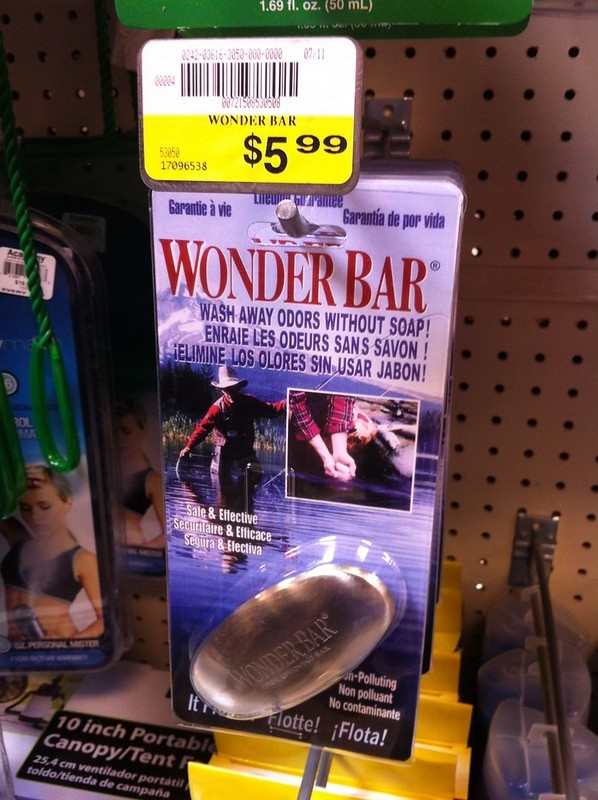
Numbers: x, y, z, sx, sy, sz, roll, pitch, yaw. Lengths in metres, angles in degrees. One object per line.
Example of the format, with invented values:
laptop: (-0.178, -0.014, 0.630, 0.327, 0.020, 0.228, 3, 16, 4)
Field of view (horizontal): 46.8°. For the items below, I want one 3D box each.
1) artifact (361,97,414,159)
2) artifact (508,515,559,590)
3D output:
artifact: (0.075, -0.232, 0.590, 0.041, 0.047, 0.034, 3, 23, 4)
artifact: (0.288, 0.187, 0.850, 0.051, 0.090, 0.015, 6, -1, 7)
